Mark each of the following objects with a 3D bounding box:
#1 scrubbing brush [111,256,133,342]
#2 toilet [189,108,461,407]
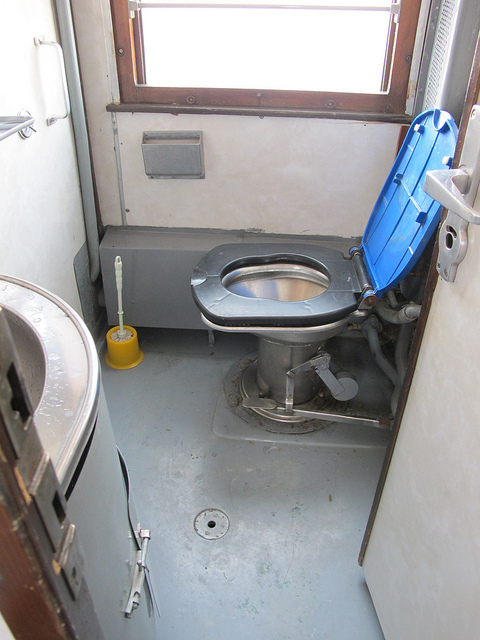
[{"bbox_3d":[-0.532,-0.088,1.985,0.074,0.375,0.084,1,8,7],"label":"scrubbing brush"},{"bbox_3d":[0.249,-0.183,1.683,0.705,1.202,0.551,7,35,1],"label":"toilet"}]
